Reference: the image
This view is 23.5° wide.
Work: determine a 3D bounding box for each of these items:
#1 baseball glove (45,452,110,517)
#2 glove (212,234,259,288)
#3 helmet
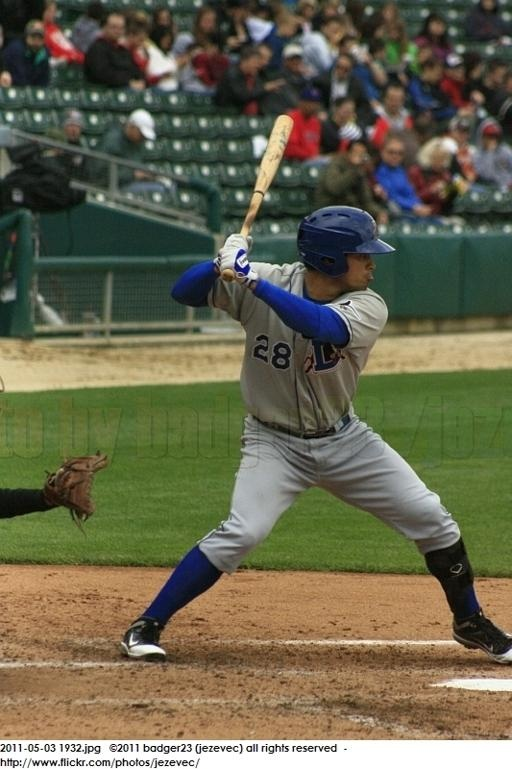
[{"bbox_3d":[-0.556,0.337,3.804,0.151,0.222,0.211,6,10,12],"label":"baseball glove"},{"bbox_3d":[-0.060,-0.372,3.657,0.124,0.138,0.271,3,9,-3],"label":"glove"},{"bbox_3d":[0.268,-0.434,3.776,0.283,0.211,0.191,3,10,-3],"label":"helmet"}]
